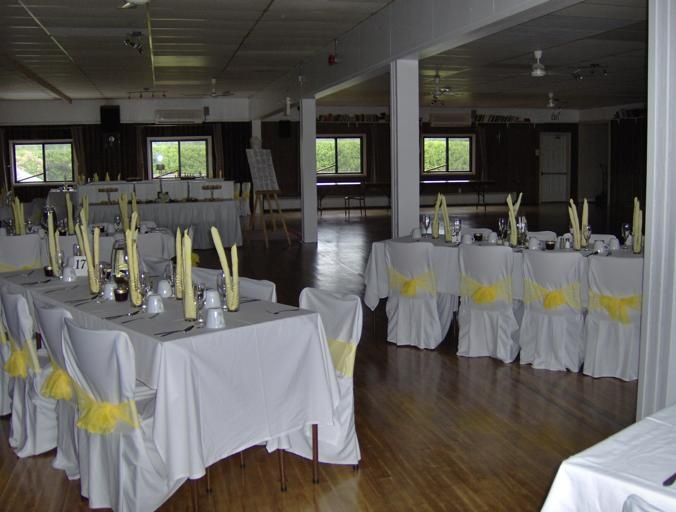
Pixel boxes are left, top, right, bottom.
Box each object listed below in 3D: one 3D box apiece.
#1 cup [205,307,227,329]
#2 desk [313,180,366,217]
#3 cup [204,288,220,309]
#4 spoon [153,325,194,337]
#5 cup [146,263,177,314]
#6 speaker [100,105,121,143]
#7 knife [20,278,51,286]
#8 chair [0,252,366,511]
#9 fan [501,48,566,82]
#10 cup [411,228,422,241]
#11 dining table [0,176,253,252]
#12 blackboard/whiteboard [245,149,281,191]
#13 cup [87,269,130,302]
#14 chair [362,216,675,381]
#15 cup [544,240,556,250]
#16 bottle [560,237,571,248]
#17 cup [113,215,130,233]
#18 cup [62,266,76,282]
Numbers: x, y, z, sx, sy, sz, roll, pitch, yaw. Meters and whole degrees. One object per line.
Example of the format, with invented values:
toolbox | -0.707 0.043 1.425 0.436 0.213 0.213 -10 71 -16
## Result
cup | -0.637 0.319 2.611 0.101 0.096 0.107 -1 10 0
desk | 0.089 -2.108 18.329 1.556 1.255 0.969 -2 9 -2
cup | -0.723 0.248 2.895 0.094 0.115 0.106 0 1 -2
spoon | -0.829 0.385 2.580 0.213 0.009 0.128 -9 13 -37
cup | -1.132 0.234 3.190 0.174 0.381 0.325 4 -4 -7
speaker | -7.226 -4.193 16.032 0.577 1.229 0.241 -5 10 -26
knife | -2.305 0.200 3.839 0.190 0.030 0.024 -6 -3 21
chair | -0.856 0.744 3.029 0.959 0.919 1.714 -10 14 -43
fan | 3.933 -3.913 10.215 1.182 0.642 1.318 -4 12 -13
cup | 0.888 -0.247 5.744 0.087 0.127 0.150 0 0 -4
dining table | -4.187 -0.936 11.158 4.103 1.455 1.991 -2 10 -4
blackboard/whiteboard | -1.690 -1.908 11.144 0.602 0.934 0.784 -3 10 -12
cup | -1.548 0.210 3.448 0.217 0.235 0.277 0 -4 -16
chair | 1.464 0.402 4.605 2.207 1.066 0.450 5 11 30
cup | 1.967 -0.100 4.693 0.075 0.092 0.084 -1 -1 2
bottle | 2.162 -0.129 4.779 0.102 0.124 0.116 1 3 9
cup | -2.882 -0.407 6.627 0.165 0.340 0.115 -1 9 -21
cup | -2.067 0.138 3.873 0.088 0.101 0.093 1 3 0
